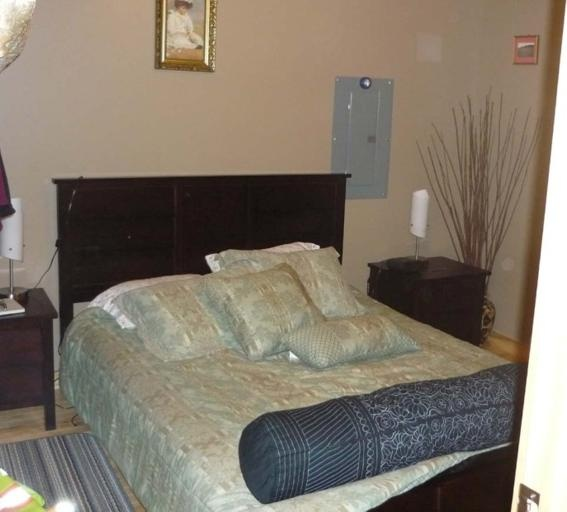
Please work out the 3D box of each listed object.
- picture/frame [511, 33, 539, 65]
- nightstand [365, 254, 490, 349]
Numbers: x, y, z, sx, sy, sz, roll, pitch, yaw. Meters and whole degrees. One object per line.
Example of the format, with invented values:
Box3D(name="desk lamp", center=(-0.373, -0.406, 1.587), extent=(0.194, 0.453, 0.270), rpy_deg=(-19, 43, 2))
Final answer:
Box3D(name="picture/frame", center=(1.698, -1.454, 3.718), extent=(0.237, 0.278, 0.010), rpy_deg=(4, 5, 38))
Box3D(name="nightstand", center=(0.956, 0.212, 3.692), extent=(0.648, 0.717, 0.590), rpy_deg=(-5, 18, -18))
